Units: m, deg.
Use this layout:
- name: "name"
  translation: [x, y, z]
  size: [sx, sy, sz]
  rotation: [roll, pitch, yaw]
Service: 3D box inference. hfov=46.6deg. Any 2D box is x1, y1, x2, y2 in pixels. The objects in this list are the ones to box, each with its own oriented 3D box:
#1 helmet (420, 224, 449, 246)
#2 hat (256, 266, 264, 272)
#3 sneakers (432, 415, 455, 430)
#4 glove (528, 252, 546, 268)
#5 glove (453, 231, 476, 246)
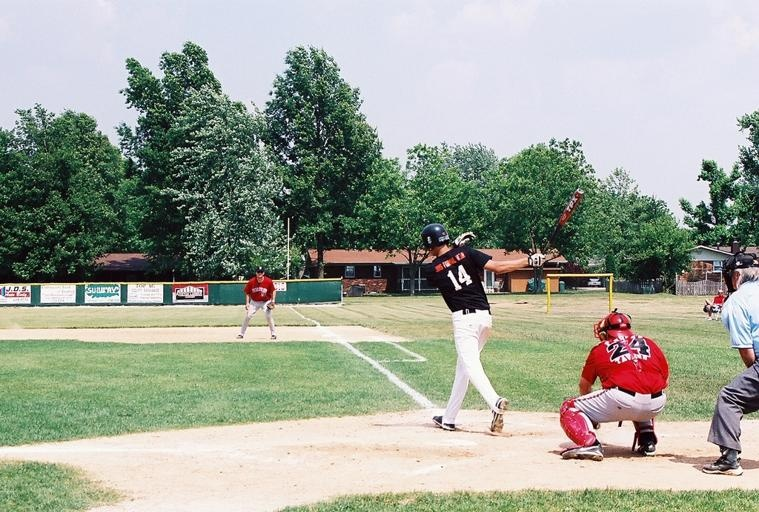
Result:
- name: "helmet"
  translation: [1.072, -0.429, 17.846]
  size: [0.385, 0.432, 0.510]
  rotation: [-14, 19, -40]
- name: "hat"
  translation: [-4.751, 0.535, 35.230]
  size: [0.366, 0.197, 0.368]
  rotation: [2, -3, -14]
- name: "sneakers"
  translation: [1.296, 3.399, 17.781]
  size: [0.188, 0.209, 0.513]
  rotation: [5, 8, -32]
- name: "glove"
  translation: [3.059, 0.096, 17.300]
  size: [0.235, 0.187, 0.313]
  rotation: [-1, 9, -4]
- name: "glove"
  translation: [1.659, -0.336, 17.439]
  size: [0.458, 0.200, 0.199]
  rotation: [-33, 18, 7]
